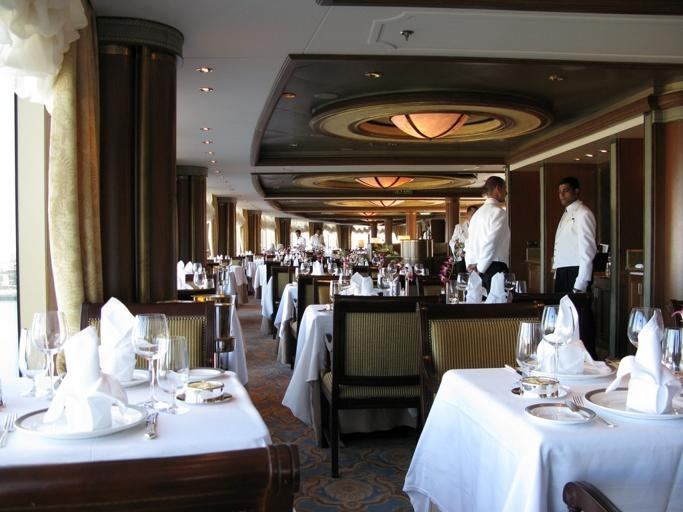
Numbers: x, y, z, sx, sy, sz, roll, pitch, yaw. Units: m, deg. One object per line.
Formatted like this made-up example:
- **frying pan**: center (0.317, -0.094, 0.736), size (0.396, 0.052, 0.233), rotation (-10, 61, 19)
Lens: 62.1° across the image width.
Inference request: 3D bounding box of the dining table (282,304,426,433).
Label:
- **dining table**: center (-0.033, 0.846, 4.701), size (0.878, 0.909, 0.955), rotation (0, 6, -8)

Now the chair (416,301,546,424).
- **chair**: center (0.760, 0.514, 3.580), size (0.810, 0.900, 0.625), rotation (0, -4, -9)

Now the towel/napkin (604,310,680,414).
- **towel/napkin**: center (1.161, 0.422, 2.274), size (0.301, 0.394, 0.269), rotation (2, -2, -18)
